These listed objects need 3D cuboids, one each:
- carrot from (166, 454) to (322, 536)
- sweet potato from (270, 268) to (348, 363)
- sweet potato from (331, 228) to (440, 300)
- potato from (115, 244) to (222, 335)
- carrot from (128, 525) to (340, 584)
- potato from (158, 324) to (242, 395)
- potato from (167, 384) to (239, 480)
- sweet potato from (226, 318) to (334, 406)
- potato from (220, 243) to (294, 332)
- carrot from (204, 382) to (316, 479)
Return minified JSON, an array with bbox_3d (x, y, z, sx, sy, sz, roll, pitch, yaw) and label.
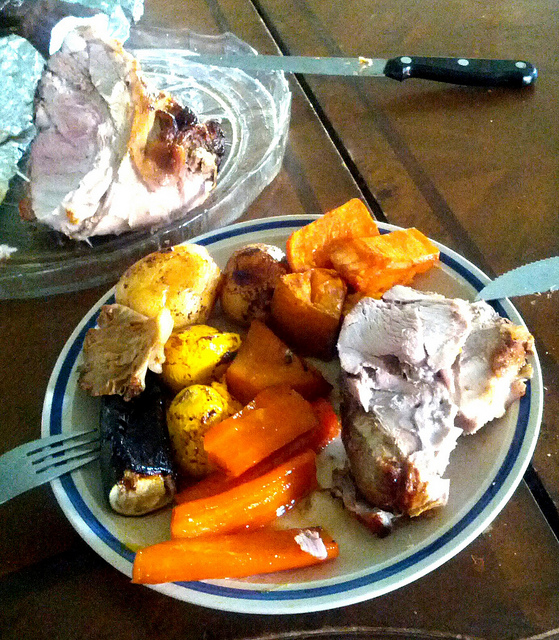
[{"bbox_3d":[-0.033,0.266,1.042,0.269,0.071,0.076,-10,57,-13],"label":"carrot"},{"bbox_3d":[0.060,-0.022,1.147,0.141,0.116,0.110,10,46,5],"label":"sweet potato"},{"bbox_3d":[0.204,-0.105,1.218,0.194,0.074,0.101,-25,55,-24],"label":"sweet potato"},{"bbox_3d":[-0.186,-0.053,1.168,0.175,0.084,0.141,-36,73,-12],"label":"potato"},{"bbox_3d":[-0.065,0.335,0.961,0.310,0.088,0.049,6,82,-30],"label":"carrot"},{"bbox_3d":[-0.124,0.064,1.150,0.136,0.079,0.093,-30,59,-11],"label":"potato"},{"bbox_3d":[-0.127,0.177,1.091,0.115,0.111,0.135,-12,65,2],"label":"potato"},{"bbox_3d":[0.008,0.064,1.161,0.185,0.120,0.150,23,39,33],"label":"sweet potato"},{"bbox_3d":[-0.045,-0.060,1.207,0.118,0.152,0.115,24,42,32],"label":"potato"},{"bbox_3d":[-0.032,0.168,1.023,0.184,0.046,0.092,-24,75,-21],"label":"carrot"}]
